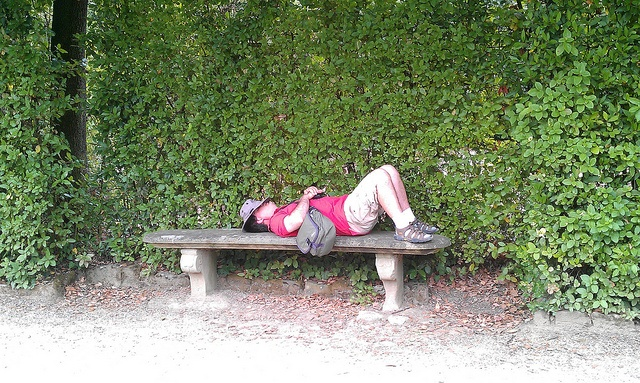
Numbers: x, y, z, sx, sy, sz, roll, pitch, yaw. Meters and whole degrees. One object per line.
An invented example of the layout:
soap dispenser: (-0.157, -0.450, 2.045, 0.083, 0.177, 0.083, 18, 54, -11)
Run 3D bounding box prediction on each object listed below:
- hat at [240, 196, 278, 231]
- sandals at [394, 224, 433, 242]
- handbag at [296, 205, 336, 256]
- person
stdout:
hat: (-0.848, 0.277, 6.866, 0.173, 0.409, 0.379, 38, 6, 2)
sandals: (1.101, 0.491, 6.200, 0.383, 0.153, 0.180, 0, 11, 11)
handbag: (-0.008, 0.583, 6.485, 0.465, 0.396, 0.331, 4, 9, 27)
person: (0.168, 0.224, 6.816, 2.620, 0.782, 1.068, -4, 8, 18)
